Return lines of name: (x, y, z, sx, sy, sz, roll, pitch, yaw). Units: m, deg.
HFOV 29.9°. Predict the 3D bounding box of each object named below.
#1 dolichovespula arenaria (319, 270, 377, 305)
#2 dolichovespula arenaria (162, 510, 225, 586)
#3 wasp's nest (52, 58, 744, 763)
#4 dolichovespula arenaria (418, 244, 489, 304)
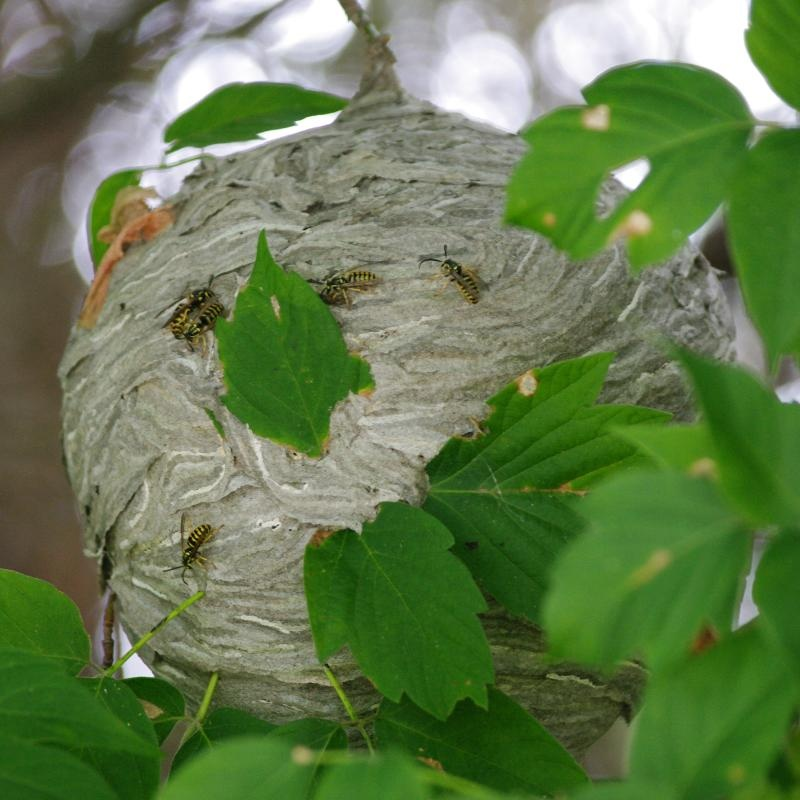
dolichovespula arenaria: (-0.066, -0.153, 2.004, 0.074, 0.039, 0.020, -11, -21, -7)
dolichovespula arenaria: (-0.270, 0.194, 1.967, 0.061, 0.084, 0.057, 4, 28, 37)
wasp's nest: (-0.063, -0.032, 2.088, 0.861, 0.735, 0.622, -20, 22, -23)
dolichovespula arenaria: (0.080, -0.165, 1.999, 0.066, 0.082, 0.026, -39, -3, -29)
